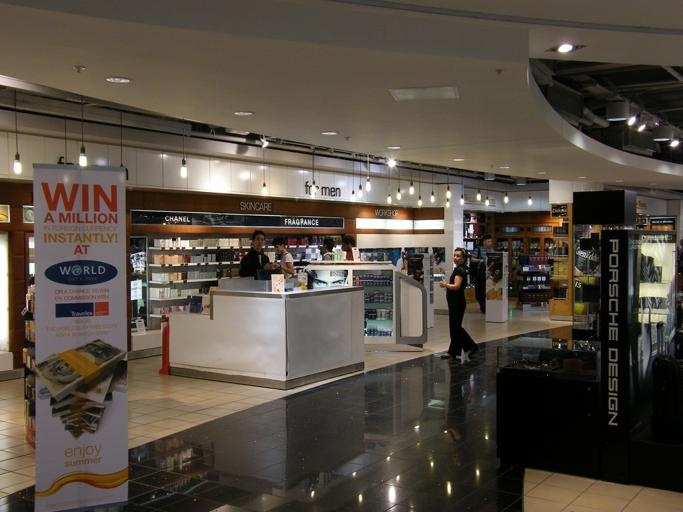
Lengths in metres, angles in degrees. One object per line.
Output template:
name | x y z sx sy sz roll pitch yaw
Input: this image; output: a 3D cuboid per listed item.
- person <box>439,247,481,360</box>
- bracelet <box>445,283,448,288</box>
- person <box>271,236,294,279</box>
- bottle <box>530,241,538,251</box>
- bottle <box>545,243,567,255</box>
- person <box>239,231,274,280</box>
person | 2.040 0.832 10.083 0.613 1.950 1.047 0 3 14
bracelet | 1.747 0.498 9.751 0.050 0.065 0.152 1 3 18
person | -1.056 0.016 10.669 0.349 0.713 0.980 -1 3 -6
bottle | 6.982 -0.378 21.184 0.345 0.325 0.165 -3 -6 37
bottle | 5.844 -0.158 15.768 0.489 0.263 0.469 2 -1 0
person | -1.396 -0.030 9.644 0.535 0.745 1.050 -1 3 -7
